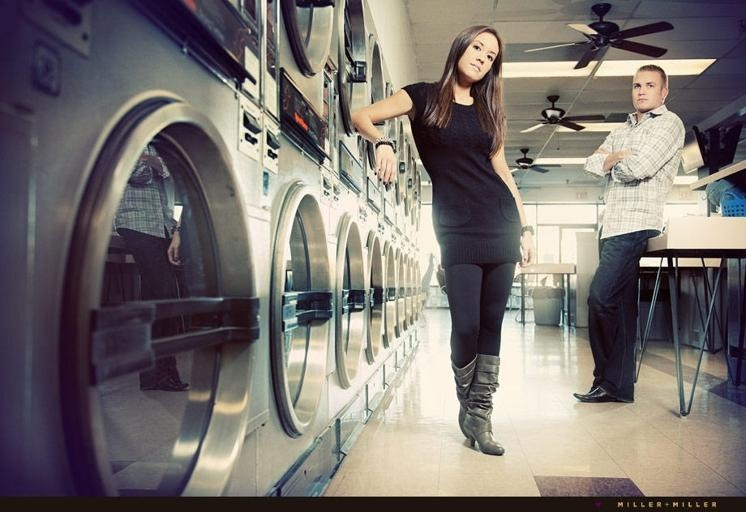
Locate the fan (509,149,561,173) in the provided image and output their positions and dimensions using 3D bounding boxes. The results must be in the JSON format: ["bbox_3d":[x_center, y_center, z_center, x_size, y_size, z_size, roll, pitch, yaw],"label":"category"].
[{"bbox_3d":[2.728,-1.626,8.868,0.675,0.314,0.705,-4,-6,27],"label":"fan"}]

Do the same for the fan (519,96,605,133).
[{"bbox_3d":[2.349,-1.662,6.205,0.547,0.222,0.600,0,-6,22],"label":"fan"}]

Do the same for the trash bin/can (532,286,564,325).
[{"bbox_3d":[2.617,0.738,7.688,0.449,0.566,0.383,0,-1,11],"label":"trash bin/can"}]

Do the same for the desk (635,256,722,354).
[{"bbox_3d":[2.353,0.319,3.987,0.545,0.612,0.562,1,3,31],"label":"desk"}]

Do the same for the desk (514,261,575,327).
[{"bbox_3d":[2.675,0.583,7.952,1.008,1.269,1.350,0,-2,8],"label":"desk"}]

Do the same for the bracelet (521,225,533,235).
[{"bbox_3d":[0.653,-0.112,2.188,0.044,0.052,0.053,0,4,7],"label":"bracelet"}]

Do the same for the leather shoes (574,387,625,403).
[{"bbox_3d":[1.243,0.764,2.829,0.239,0.099,0.088,7,-15,6],"label":"leather shoes"}]

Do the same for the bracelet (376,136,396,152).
[{"bbox_3d":[0.056,-0.432,1.987,0.053,0.055,0.123,-1,0,26],"label":"bracelet"}]

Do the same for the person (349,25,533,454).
[{"bbox_3d":[0.344,-0.065,2.072,0.757,1.679,0.247,0,-1,-14],"label":"person"}]
